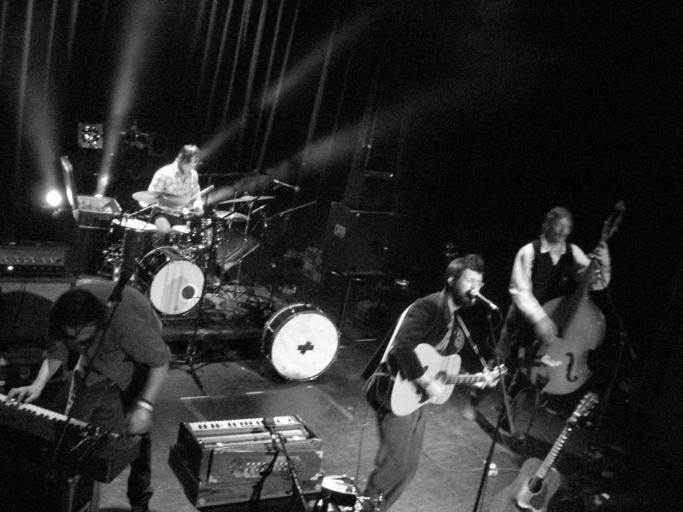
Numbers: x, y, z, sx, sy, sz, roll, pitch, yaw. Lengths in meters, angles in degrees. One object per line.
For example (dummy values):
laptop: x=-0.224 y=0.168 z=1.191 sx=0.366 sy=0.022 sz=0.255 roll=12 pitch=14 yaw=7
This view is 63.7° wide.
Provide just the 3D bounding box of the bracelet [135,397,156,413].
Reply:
bracelet: x=-1.349 y=1.018 z=3.748 sx=0.107 sy=0.036 sz=0.109 roll=39 pitch=-32 yaw=-24

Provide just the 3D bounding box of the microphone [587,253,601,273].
microphone: x=2.513 y=0.067 z=5.462 sx=0.142 sy=0.165 sz=0.046 roll=6 pitch=12 yaw=6

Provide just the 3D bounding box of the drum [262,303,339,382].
drum: x=-0.527 y=1.119 z=6.836 sx=1.121 sy=0.958 sz=0.399 roll=3 pitch=10 yaw=-22

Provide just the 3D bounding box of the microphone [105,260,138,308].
microphone: x=-1.944 y=0.222 z=4.850 sx=0.136 sy=0.421 sz=0.083 roll=32 pitch=30 yaw=-6

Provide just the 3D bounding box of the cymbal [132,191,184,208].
cymbal: x=-2.563 y=-0.815 z=7.724 sx=0.367 sy=0.081 sz=0.352 roll=5 pitch=-7 yaw=-31

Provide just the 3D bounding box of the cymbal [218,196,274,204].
cymbal: x=-1.298 y=-0.816 z=7.784 sx=0.440 sy=0.081 sz=0.417 roll=-5 pitch=9 yaw=-26

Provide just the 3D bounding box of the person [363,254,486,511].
person: x=0.574 y=1.011 z=4.217 sx=0.708 sy=2.127 sz=0.384 roll=8 pitch=6 yaw=-7

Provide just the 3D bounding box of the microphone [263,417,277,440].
microphone: x=-0.613 y=1.461 z=4.710 sx=0.074 sy=0.088 sz=0.208 roll=7 pitch=18 yaw=-25
